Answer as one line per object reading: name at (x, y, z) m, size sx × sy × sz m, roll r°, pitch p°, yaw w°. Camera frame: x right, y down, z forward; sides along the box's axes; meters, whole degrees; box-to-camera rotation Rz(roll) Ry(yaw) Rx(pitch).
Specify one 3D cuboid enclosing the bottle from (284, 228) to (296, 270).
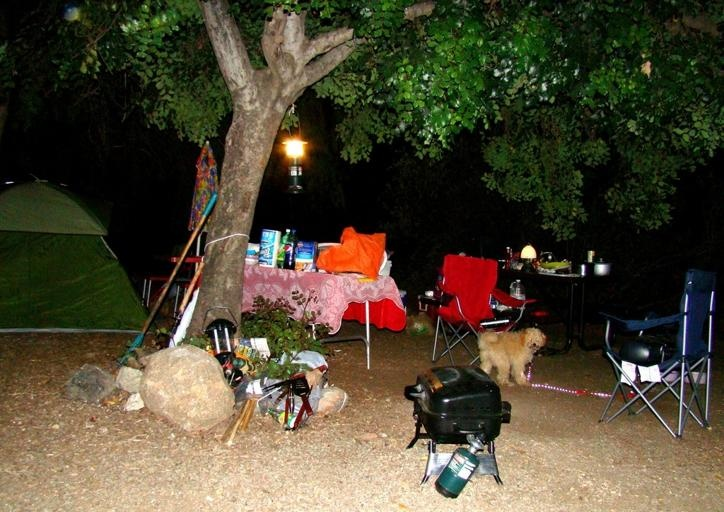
bottle at (-0.954, -0.090, 7.211) m, size 0.147 × 0.509 × 0.252 m, roll 2°, pitch 4°, yaw -10°

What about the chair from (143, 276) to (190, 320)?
chair at (-3.143, 0.687, 8.819) m, size 0.513 × 0.708 × 0.499 m, roll 1°, pitch 4°, yaw -1°

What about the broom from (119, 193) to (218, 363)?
broom at (-3.370, 0.323, 9.304) m, size 0.394 × 3.731 × 0.306 m, roll 14°, pitch -16°, yaw 38°

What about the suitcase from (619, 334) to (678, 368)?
suitcase at (3.200, 1.119, 6.255) m, size 0.496 × 0.323 × 0.501 m, roll -3°, pitch 5°, yaw 4°

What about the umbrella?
umbrella at (-2.174, -0.934, 7.512) m, size 0.412 × 2.078 × 0.466 m, roll 2°, pitch 6°, yaw -21°

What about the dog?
dog at (1.951, 1.303, 7.161) m, size 0.816 × 0.711 × 0.510 m, roll -1°, pitch 8°, yaw 10°

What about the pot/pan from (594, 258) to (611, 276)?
pot/pan at (3.610, 0.181, 8.296) m, size 0.283 × 0.212 × 0.253 m, roll 4°, pitch 5°, yaw 30°

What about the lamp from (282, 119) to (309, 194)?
lamp at (-0.967, -1.474, 7.836) m, size 0.361 × 1.108 × 0.381 m, roll 4°, pitch 7°, yaw 34°

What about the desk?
desk at (-0.523, 0.786, 7.126) m, size 1.349 × 1.146 × 1.802 m, roll 2°, pitch 5°, yaw -33°
